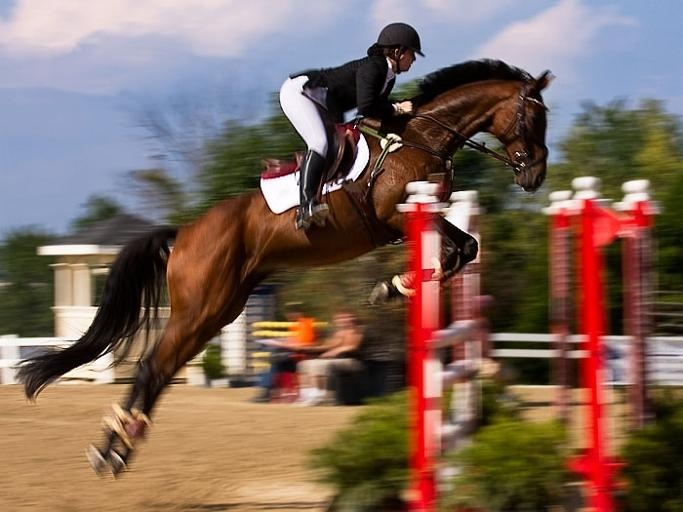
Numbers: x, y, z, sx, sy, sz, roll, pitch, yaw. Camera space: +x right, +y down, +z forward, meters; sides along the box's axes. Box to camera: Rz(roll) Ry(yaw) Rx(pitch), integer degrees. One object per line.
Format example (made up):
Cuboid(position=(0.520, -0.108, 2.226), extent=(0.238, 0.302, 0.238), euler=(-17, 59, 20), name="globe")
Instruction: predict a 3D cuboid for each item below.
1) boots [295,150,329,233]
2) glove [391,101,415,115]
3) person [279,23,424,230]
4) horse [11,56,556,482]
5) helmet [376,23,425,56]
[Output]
Cuboid(position=(-0.190, -0.438, 8.786), extent=(0.209, 0.525, 0.146), euler=(1, -4, 0), name="boots")
Cuboid(position=(0.424, -0.991, 8.904), extent=(0.143, 0.032, 0.085), euler=(-4, 29, 10), name="glove")
Cuboid(position=(0.053, -0.857, 8.849), extent=(0.950, 1.361, 0.330), euler=(1, -4, 3), name="person")
Cuboid(position=(-0.272, 0.037, 9.120), extent=(4.370, 1.893, 0.720), euler=(-19, -24, 23), name="horse")
Cuboid(position=(0.433, -1.474, 8.896), extent=(0.402, 0.164, 0.249), euler=(11, 19, 20), name="helmet")
